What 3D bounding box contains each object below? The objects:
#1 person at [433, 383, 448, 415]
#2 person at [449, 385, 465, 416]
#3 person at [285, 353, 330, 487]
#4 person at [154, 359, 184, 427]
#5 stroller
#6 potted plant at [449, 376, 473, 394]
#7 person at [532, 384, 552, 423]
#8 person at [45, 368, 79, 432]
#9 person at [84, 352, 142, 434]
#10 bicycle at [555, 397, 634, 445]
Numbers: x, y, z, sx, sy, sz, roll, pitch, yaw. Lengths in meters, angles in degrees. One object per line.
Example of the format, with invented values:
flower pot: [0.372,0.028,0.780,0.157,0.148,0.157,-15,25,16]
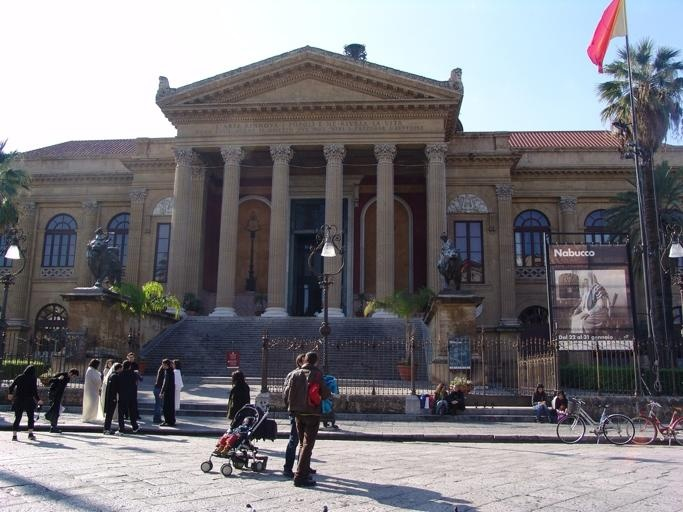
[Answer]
person: [3.228,4.637,20.482,0.464,0.994,0.588,-1,-10,9]
person: [3.759,4.686,20.638,0.441,0.892,0.787,-4,-11,26]
person: [-0.623,2.876,11.367,0.701,2.293,0.663,9,-13,-40]
person: [-5.058,3.955,18.448,0.732,1.850,1.458,4,-11,-16]
stroller: [-1.960,3.575,12.453,0.987,1.449,1.558,-6,-8,44]
potted plant: [4.285,4.535,22.364,0.727,0.560,0.758,5,-11,-9]
person: [6.457,4.746,20.265,0.436,1.181,0.847,-2,-51,12]
person: [-7.899,4.005,17.765,0.671,1.656,2.373,5,-11,-23]
person: [-5.935,3.768,17.048,0.932,1.874,1.020,4,-11,-20]
bicycle: [6.629,4.313,16.736,2.159,1.463,1.048,-2,-10,16]
